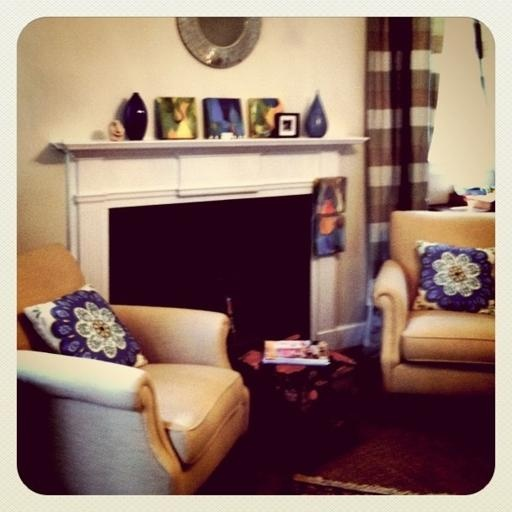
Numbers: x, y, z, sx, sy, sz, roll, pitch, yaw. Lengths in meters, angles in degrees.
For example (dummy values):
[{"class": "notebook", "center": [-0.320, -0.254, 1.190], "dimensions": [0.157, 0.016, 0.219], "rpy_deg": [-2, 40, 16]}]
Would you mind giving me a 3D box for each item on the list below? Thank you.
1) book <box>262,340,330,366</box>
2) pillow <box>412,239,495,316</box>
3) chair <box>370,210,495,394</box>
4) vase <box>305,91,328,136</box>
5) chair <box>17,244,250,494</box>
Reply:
[{"class": "book", "center": [0.125, 0.304, 1.568], "dimensions": [0.209, 0.027, 0.178], "rpy_deg": [-1, 12, 3]}, {"class": "pillow", "center": [0.789, 0.060, 1.891], "dimensions": [0.289, 0.340, 0.103], "rpy_deg": [2, 26, 34]}, {"class": "chair", "center": [0.694, 0.168, 1.907], "dimensions": [0.428, 0.629, 0.454], "rpy_deg": [3, 12, 21]}, {"class": "vase", "center": [0.254, -0.601, 2.061], "dimensions": [0.110, 0.181, 0.120], "rpy_deg": [10, 40, 10]}, {"class": "chair", "center": [-0.404, 0.243, 1.568], "dimensions": [0.682, 0.758, 0.627], "rpy_deg": [2, 8, 18]}]
